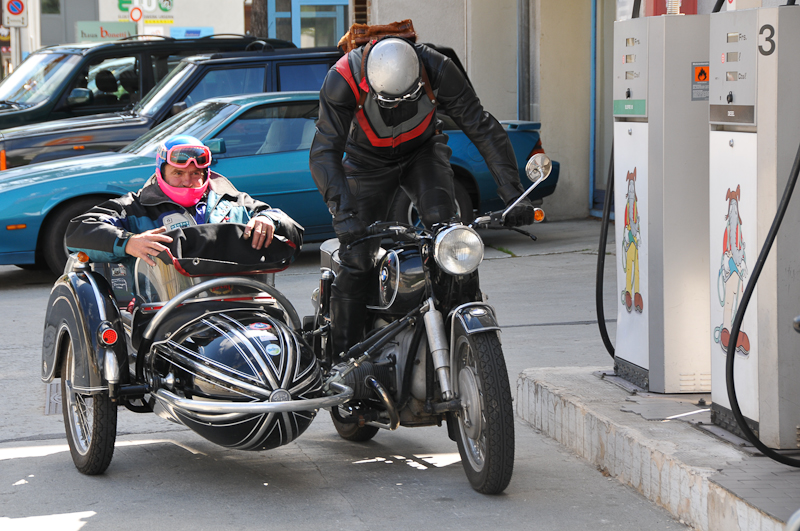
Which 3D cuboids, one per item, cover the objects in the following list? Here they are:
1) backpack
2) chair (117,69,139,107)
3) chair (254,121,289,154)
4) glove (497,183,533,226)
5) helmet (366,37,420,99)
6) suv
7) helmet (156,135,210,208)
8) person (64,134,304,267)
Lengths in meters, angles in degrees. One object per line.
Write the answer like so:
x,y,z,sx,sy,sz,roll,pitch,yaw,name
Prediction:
-0.069,-1.311,6.601,0.524,0.387,0.855,-9,24,-9,backpack
-3.811,-2.479,14.322,0.431,0.552,0.373,-4,16,-17,chair
-1.387,-1.443,11.856,0.310,0.409,0.266,-13,6,2,chair
0.689,-0.340,6.060,0.236,0.252,0.146,-8,-7,31,glove
-0.050,-1.205,6.361,0.299,0.356,0.331,-6,13,-1,helmet
-1.361,-1.026,12.354,6.027,2.096,2.797,1,3,-11,suv
-1.365,-0.587,6.584,0.343,0.456,0.441,0,8,-17,helmet
-1.339,-0.360,6.625,1.440,0.904,0.774,-5,16,-27,person
